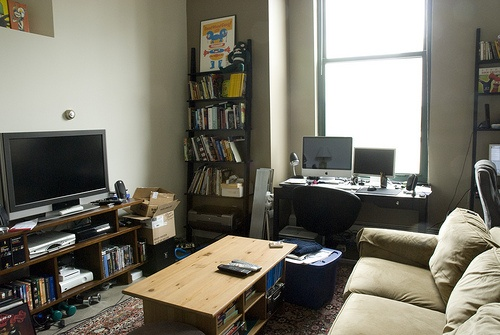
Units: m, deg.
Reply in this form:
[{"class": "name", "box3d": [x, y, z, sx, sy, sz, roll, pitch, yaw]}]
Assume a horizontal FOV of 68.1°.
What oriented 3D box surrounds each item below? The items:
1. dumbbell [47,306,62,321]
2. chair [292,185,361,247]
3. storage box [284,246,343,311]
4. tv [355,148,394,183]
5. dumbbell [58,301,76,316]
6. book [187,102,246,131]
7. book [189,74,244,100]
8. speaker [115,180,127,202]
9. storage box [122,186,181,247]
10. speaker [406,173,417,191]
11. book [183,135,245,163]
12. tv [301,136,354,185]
[{"class": "dumbbell", "box3d": [-1.834, 1.360, 3.483, 0.112, 0.121, 0.143, -8, 3, -43]}, {"class": "chair", "box3d": [0.858, 0.479, 4.377, 0.624, 0.733, 0.645, 5, 13, 27]}, {"class": "storage box", "box3d": [0.587, 1.087, 3.815, 0.605, 0.430, 0.520, 8, 8, 37]}, {"class": "tv", "box3d": [1.620, -0.051, 4.843, 0.475, 0.338, 0.079, 0, 4, 23]}, {"class": "dumbbell", "box3d": [-1.759, 1.350, 3.561, 0.239, 0.107, 0.104, 0, -16, 46]}, {"class": "book", "box3d": [-0.455, -0.696, 5.062, 0.777, 0.354, 0.228, 0, 9, 25]}, {"class": "book", "box3d": [-0.448, -1.102, 5.056, 0.815, 0.330, 0.221, 1, 9, 25]}, {"class": "speaker", "box3d": [-1.481, 0.268, 4.260, 0.056, 0.226, 0.128, -15, -3, 37]}, {"class": "storage box", "box3d": [-1.151, 0.566, 4.331, 0.487, 0.559, 0.573, 8, 13, 32]}, {"class": "speaker", "box3d": [1.957, 0.178, 4.538, 0.114, 0.182, 0.249, 3, 10, 35]}, {"class": "book", "box3d": [-0.512, -0.256, 5.077, 0.813, 0.368, 0.157, 0, 9, 21]}, {"class": "tv", "box3d": [1.058, -0.126, 5.059, 0.703, 0.591, 0.292, 3, 6, 33]}]
